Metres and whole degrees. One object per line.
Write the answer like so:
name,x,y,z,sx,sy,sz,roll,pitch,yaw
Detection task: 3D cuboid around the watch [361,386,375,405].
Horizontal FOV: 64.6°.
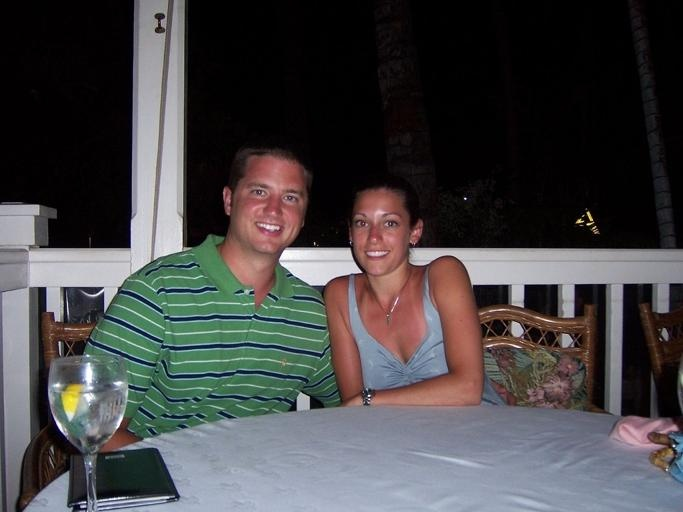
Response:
watch,0.110,0.581,2.243,0.038,0.063,0.066,-1,-47,6

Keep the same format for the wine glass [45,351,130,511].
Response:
wine glass,-0.684,0.458,1.428,0.190,0.341,0.247,0,7,-4

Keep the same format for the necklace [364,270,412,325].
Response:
necklace,0.262,0.230,2.765,0.159,0.263,0.028,6,-37,12

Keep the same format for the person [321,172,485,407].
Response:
person,0.305,0.172,2.509,0.698,1.059,0.878,-1,7,-11

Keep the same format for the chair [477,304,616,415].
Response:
chair,0.962,0.577,2.996,0.539,0.794,0.604,0,-17,2
